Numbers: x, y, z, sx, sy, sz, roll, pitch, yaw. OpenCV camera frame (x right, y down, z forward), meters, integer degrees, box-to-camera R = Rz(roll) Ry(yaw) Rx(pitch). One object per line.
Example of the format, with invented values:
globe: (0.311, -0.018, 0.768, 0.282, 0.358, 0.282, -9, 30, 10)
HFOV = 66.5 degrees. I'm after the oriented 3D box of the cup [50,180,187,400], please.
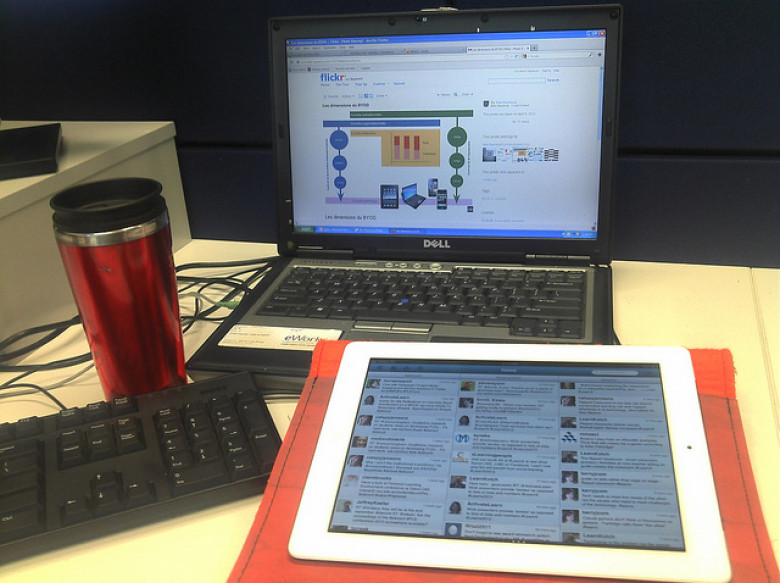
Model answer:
cup: (-0.284, 0.002, 0.633, 0.135, 0.241, 0.070, 2, 12, -19)
